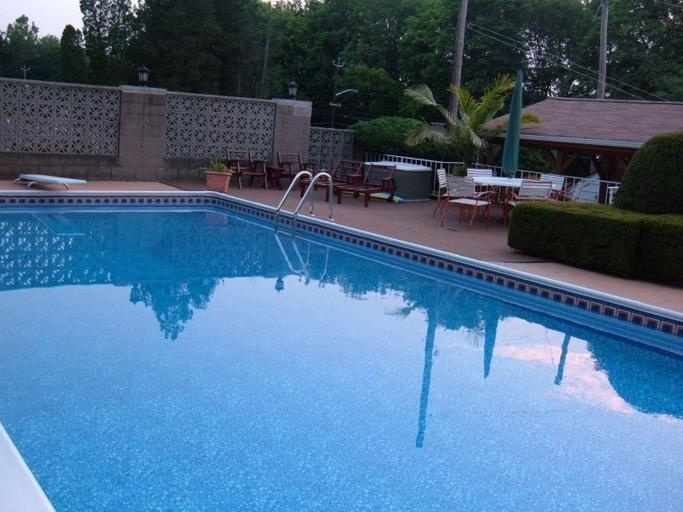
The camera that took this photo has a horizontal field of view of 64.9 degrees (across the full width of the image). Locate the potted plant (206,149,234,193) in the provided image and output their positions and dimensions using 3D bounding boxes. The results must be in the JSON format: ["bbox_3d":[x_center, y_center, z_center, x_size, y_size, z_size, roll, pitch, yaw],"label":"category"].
[{"bbox_3d":[-3.214,-2.073,14.019,0.552,0.829,0.926,-4,15,-28],"label":"potted plant"}]
